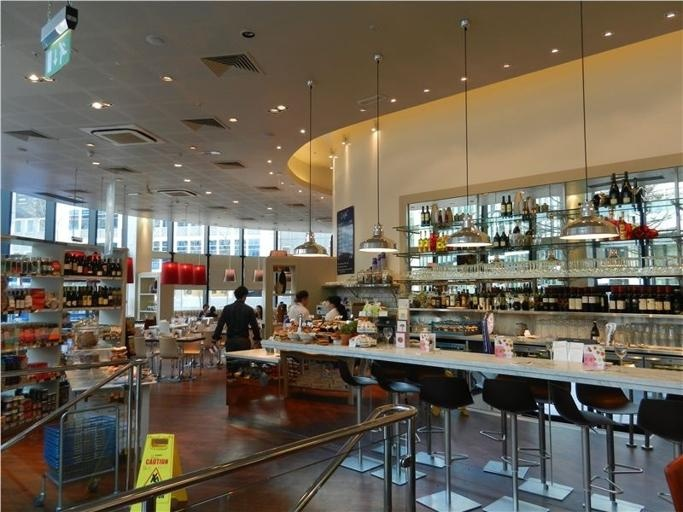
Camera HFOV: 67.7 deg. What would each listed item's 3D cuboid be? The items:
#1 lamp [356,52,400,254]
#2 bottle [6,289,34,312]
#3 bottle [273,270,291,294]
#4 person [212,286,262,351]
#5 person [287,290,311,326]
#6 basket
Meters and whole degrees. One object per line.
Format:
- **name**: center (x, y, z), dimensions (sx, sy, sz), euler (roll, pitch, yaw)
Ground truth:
- **lamp**: center (0.571, -1.486, 7.959), dimensions (0.683, 2.974, 0.655), euler (-19, 28, -36)
- **bottle**: center (-4.442, 0.611, 7.037), dimensions (0.167, 0.302, 0.320), euler (-4, -3, 42)
- **bottle**: center (-1.391, 0.570, 11.514), dimensions (0.451, 0.502, 0.117), euler (-1, 9, -44)
- **person**: center (-1.713, 1.080, 8.770), dimensions (0.685, 1.087, 0.515), euler (-2, -2, 5)
- **person**: center (-0.770, 1.016, 9.169), dimensions (0.530, 0.731, 0.440), euler (2, -2, 11)
- **basket**: center (-3.016, 2.070, 5.697), dimensions (0.616, 0.718, 0.767), euler (1, -25, 14)
